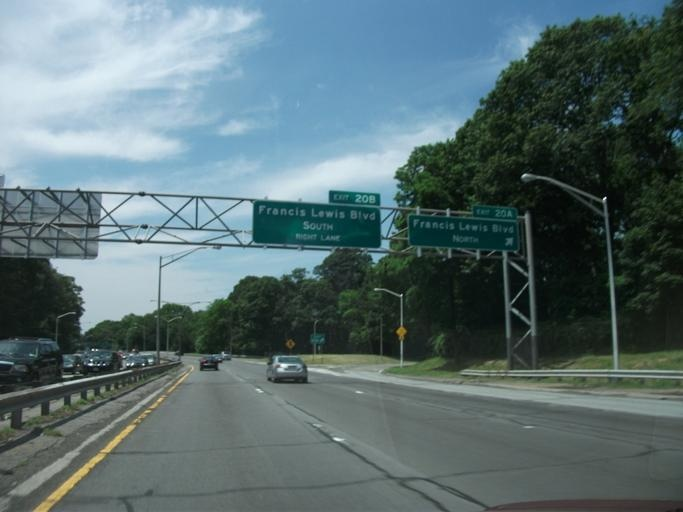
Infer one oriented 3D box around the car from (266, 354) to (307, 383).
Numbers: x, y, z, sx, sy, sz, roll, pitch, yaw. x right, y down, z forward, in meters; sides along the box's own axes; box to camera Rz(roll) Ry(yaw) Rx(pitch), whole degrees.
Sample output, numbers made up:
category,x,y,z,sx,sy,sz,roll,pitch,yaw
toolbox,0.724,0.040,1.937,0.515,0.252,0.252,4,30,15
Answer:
category,x,y,z,sx,sy,sz,roll,pitch,yaw
car,-2.990,6.220,43.764,1.719,1.534,2.206,4,-10,-26
